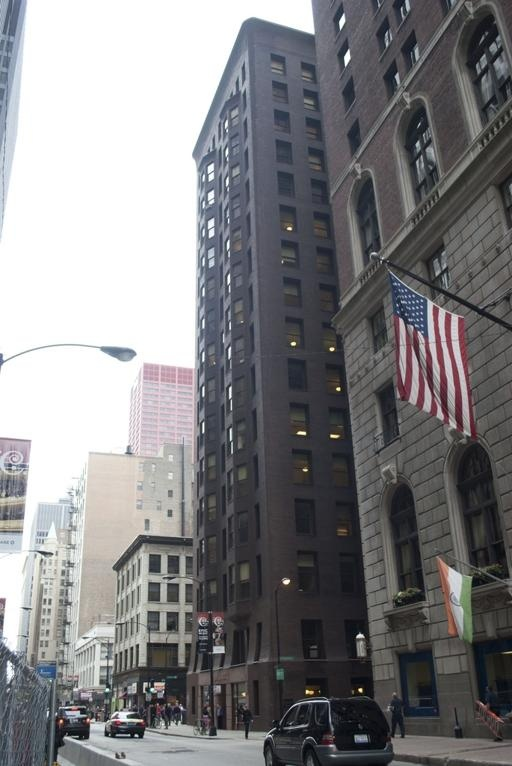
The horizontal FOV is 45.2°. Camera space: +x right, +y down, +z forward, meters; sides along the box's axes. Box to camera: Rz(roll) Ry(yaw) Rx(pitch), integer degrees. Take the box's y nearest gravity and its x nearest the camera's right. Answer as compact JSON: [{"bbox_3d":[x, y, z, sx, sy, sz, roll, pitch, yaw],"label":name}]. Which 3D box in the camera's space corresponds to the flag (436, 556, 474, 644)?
[{"bbox_3d":[6.161,6.581,18.605,0.992,2.408,0.784,-18,-27,34],"label":"flag"}]
